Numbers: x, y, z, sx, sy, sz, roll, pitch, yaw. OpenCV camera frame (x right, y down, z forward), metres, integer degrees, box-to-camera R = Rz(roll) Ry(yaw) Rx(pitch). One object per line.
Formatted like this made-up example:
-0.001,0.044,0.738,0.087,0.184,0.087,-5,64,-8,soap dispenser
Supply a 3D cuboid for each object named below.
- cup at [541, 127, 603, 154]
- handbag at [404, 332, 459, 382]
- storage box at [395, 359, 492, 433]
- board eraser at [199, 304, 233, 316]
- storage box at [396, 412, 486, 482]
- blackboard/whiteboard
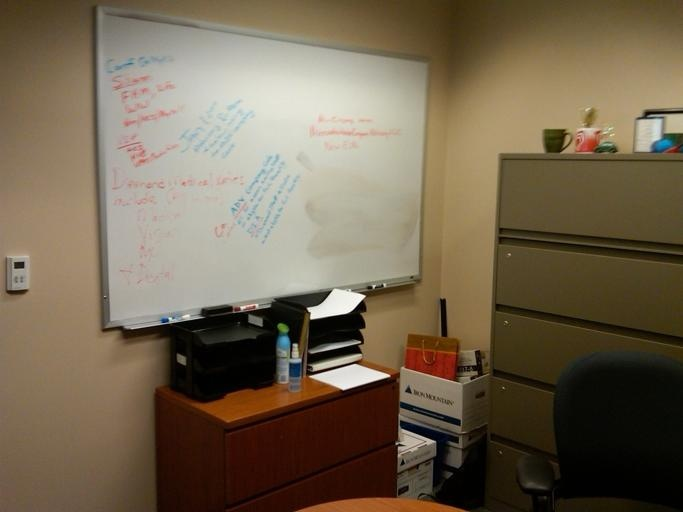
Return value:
1.284,-0.628,2.834,0.288,0.126,0.157,5,11,28,cup
0.569,0.649,3.241,0.264,0.199,0.080,4,-6,34,handbag
0.715,0.828,3.272,0.413,0.275,0.419,-2,5,-38,storage box
-0.645,0.276,2.623,0.100,0.024,0.049,-6,13,-35,board eraser
0.653,1.159,3.254,0.322,0.217,0.412,-9,14,-43,storage box
-0.462,-0.496,2.724,1.900,1.429,0.088,-5,8,-36,blackboard/whiteboard
